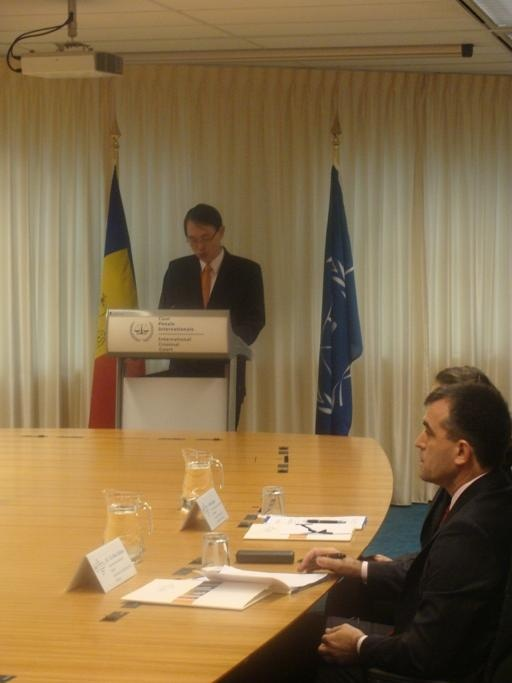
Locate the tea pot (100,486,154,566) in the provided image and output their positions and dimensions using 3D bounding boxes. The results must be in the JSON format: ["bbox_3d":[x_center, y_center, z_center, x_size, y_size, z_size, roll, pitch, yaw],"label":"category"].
[{"bbox_3d":[-0.295,0.397,1.542,0.130,0.180,0.105,3,-7,-15],"label":"tea pot"}]

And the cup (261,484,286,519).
[{"bbox_3d":[0.044,0.413,1.848,0.068,0.075,0.050,3,-3,-15],"label":"cup"}]

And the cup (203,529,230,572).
[{"bbox_3d":[-0.078,0.402,1.379,0.054,0.083,0.057,0,-4,0],"label":"cup"}]

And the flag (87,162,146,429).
[{"bbox_3d":[-0.916,-0.311,4.551,0.312,1.694,0.526,-1,1,-12],"label":"flag"}]

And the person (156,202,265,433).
[{"bbox_3d":[-0.279,-0.136,4.536,0.667,1.439,0.847,-1,1,0],"label":"person"}]

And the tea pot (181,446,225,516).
[{"bbox_3d":[-0.175,0.387,1.986,0.146,0.202,0.114,2,-2,7],"label":"tea pot"}]

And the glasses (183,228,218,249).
[{"bbox_3d":[-0.331,-0.650,4.522,0.202,0.127,0.140,-1,1,-3],"label":"glasses"}]
